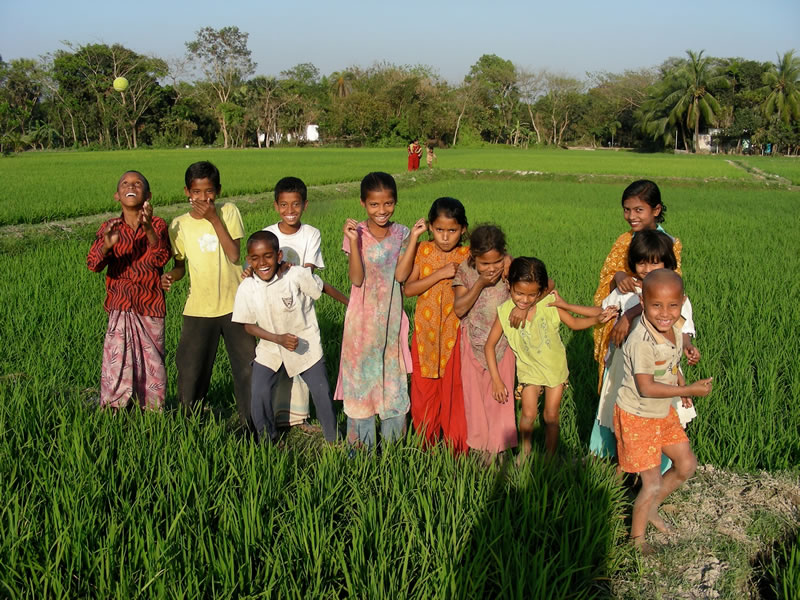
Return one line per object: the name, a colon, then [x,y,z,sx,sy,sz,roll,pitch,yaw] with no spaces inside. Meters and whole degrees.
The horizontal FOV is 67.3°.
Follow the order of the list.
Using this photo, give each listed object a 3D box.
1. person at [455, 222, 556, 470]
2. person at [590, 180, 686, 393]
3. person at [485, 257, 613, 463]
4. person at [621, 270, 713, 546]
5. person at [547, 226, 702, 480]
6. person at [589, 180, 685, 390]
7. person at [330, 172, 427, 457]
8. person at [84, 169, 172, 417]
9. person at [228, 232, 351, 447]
person: [0.600,0.332,3.931,0.476,1.609,0.416,-1,17,5]
person: [1.619,0.081,4.197,0.511,1.769,0.447,9,24,34]
person: [0.944,0.470,3.933,0.674,1.538,0.444,-3,17,10]
person: [1.434,0.589,3.294,0.411,1.516,0.470,0,8,5]
person: [1.818,0.238,4.528,1.137,0.794,2.227,9,-20,27]
person: [1.646,0.140,4.193,0.542,1.823,0.471,5,22,31]
person: [-0.141,0.113,4.029,0.570,1.916,0.482,-2,8,-14]
person: [-1.902,-0.048,4.284,0.547,1.718,0.497,-5,9,-28]
person: [-0.672,0.329,4.297,0.956,1.724,0.567,-4,21,-7]
